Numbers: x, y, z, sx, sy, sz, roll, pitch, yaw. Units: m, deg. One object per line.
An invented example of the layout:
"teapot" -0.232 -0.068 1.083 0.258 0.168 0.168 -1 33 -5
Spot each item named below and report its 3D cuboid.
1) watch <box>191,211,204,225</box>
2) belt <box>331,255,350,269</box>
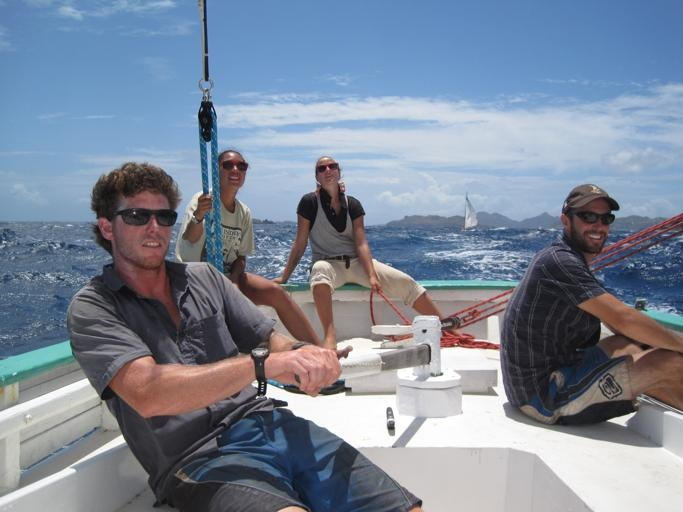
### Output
"watch" -1.069 -0.279 4.256 0.088 0.086 0.086 19 15 -29
"belt" -0.014 0.063 5.391 0.128 0.103 0.130 -11 -8 25
